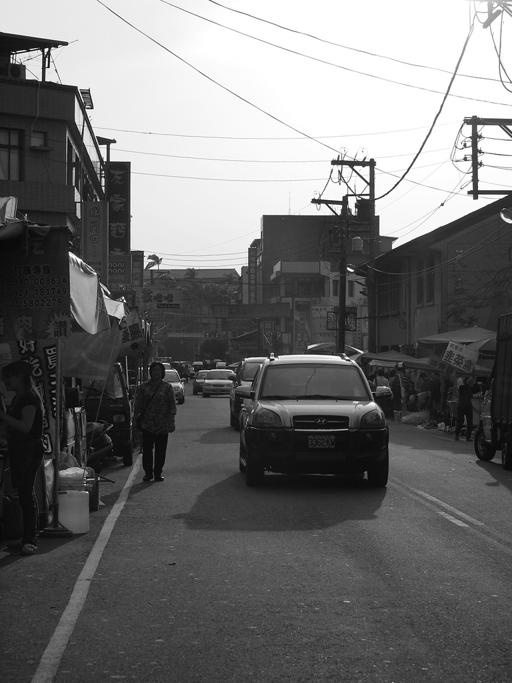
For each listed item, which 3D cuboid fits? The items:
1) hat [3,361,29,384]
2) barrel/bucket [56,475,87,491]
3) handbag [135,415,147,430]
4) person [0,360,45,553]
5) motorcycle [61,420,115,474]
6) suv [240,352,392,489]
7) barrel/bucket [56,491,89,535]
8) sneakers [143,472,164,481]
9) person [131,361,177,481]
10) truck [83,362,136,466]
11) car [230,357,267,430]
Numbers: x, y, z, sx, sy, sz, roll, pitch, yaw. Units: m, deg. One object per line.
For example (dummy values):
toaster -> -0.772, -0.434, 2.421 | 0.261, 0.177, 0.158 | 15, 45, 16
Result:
hat -> -2.065, 0.262, 7.585 | 0.157, 0.167, 0.188 | -2, 4, -3
barrel/bucket -> -1.858, 1.421, 8.830 | 0.253, 0.136, 0.108 | 1, 0, -25
handbag -> -1.676, 1.188, 12.782 | 0.122, 0.321, 0.189 | -2, 1, 4
person -> -2.028, 0.992, 7.577 | 0.359, 1.628, 0.336 | 1, 1, -10
motorcycle -> -2.551, 1.729, 13.447 | 0.754, 0.392, 0.753 | -7, 3, -43
suv -> 0.758, 1.108, 12.231 | 1.093, 1.411, 2.330 | 1, -15, -2
barrel/bucket -> -1.779, 1.658, 8.633 | 0.284, 0.466, 0.340 | -1, -2, 12
sneakers -> -1.496, 2.000, 12.877 | 0.321, 0.196, 0.128 | -1, 3, 5
person -> -1.507, 1.179, 13.035 | 0.605, 1.734, 0.789 | 1, 1, -9
truck -> -2.808, 1.373, 15.404 | 0.969, 1.836, 1.711 | 0, -3, -5
car -> -0.280, 1.237, 23.469 | 0.862, 1.184, 1.878 | 1, -3, -1
